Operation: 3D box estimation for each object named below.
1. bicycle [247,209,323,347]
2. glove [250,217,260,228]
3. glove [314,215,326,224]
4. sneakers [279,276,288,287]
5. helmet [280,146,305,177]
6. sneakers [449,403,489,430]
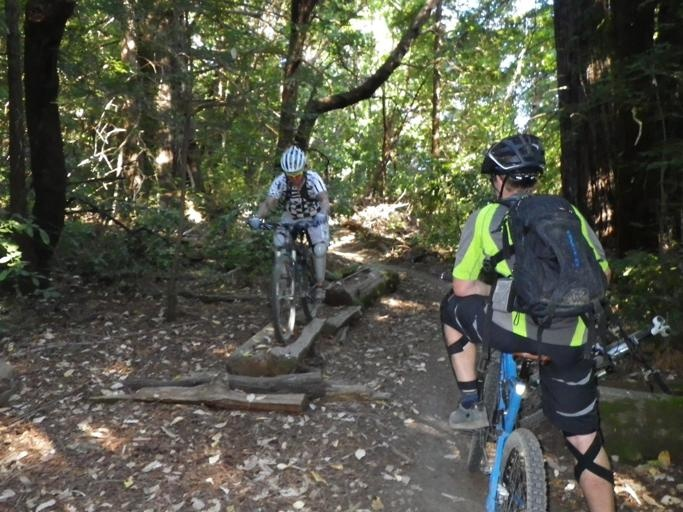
[{"bbox_3d":[-0.722,0.324,8.745,0.499,1.718,1.545,2,8,18],"label":"bicycle"},{"bbox_3d":[-1.216,-0.466,8.325,0.170,0.149,0.171,1,8,10],"label":"glove"},{"bbox_3d":[-0.282,-0.534,8.374,0.180,0.132,0.128,-4,8,-18],"label":"glove"},{"bbox_3d":[-0.822,0.358,8.491,0.111,0.128,0.211,-5,-16,-1],"label":"sneakers"},{"bbox_3d":[-0.688,-1.419,8.652,0.271,0.245,0.457,1,39,-4],"label":"helmet"},{"bbox_3d":[1.200,1.513,5.593,0.203,0.196,0.340,1,-8,-32],"label":"sneakers"}]
